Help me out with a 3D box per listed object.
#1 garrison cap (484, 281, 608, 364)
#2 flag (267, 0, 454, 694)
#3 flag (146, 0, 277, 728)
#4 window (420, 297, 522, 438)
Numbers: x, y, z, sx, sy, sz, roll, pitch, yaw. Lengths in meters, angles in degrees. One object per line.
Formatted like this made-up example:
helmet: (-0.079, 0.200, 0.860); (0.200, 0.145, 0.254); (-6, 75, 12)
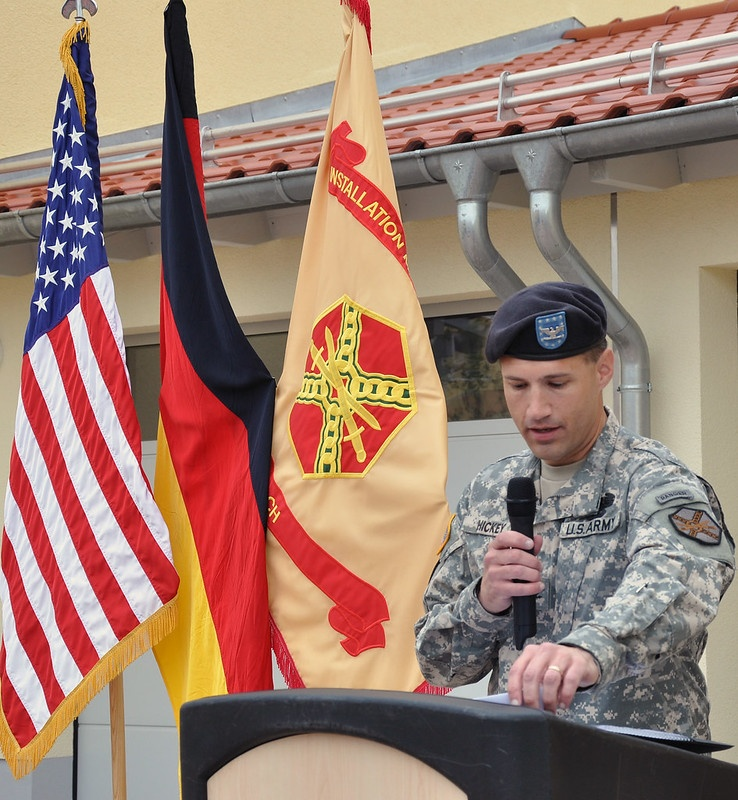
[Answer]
garrison cap: (0.409, -0.181, 3.188); (0.234, 0.108, 0.192); (-21, 17, -41)
flag: (-0.105, -0.220, 5.159); (0.351, 2.528, 0.688); (10, -20, -37)
flag: (-0.647, -0.202, 5.355); (0.451, 2.661, 0.565); (5, -18, -25)
window: (0.389, -0.111, 5.404); (0.636, 0.582, 0.023); (-7, -8, 27)
